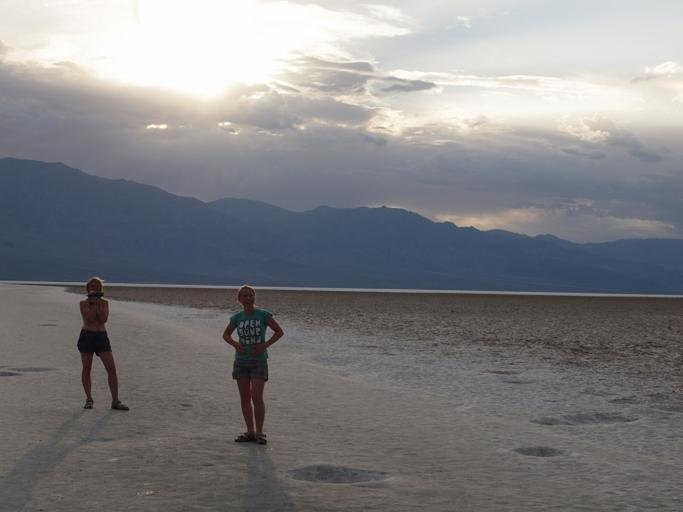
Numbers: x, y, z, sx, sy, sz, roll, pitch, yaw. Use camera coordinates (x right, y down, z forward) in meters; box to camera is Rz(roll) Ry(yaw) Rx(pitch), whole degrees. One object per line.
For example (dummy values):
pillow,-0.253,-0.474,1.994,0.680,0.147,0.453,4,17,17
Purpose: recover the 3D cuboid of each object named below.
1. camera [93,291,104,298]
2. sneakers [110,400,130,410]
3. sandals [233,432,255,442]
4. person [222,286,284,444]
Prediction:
camera,-4.686,0.726,14.543,0.181,0.076,0.130,-7,-6,36
sneakers,-4.285,2.907,14.762,0.463,0.156,0.145,1,3,21
sandals,-1.699,3.138,13.134,0.350,0.116,0.150,4,-4,4
person,-1.556,1.873,13.149,0.919,2.733,0.997,0,-1,-8
